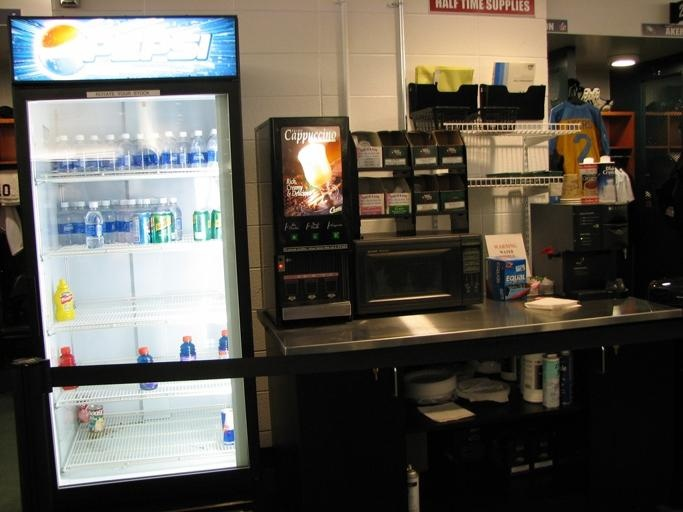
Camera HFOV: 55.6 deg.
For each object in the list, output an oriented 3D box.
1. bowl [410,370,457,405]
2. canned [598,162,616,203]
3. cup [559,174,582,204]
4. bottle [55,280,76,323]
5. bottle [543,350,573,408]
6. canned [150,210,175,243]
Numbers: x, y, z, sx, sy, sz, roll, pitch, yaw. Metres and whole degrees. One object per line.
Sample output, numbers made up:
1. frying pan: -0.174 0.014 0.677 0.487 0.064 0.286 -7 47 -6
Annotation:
1. bowl: 0.495 0.723 3.610 0.306 0.146 0.172 -6 7 -8
2. canned: 1.593 -0.453 3.930 0.115 0.226 0.110 -2 7 22
3. cup: 1.379 -0.422 3.948 0.150 0.169 0.154 -2 3 0
4. bottle: -1.527 0.240 3.550 0.095 0.222 0.091 -5 6 1
5. bottle: 1.165 0.667 3.507 0.165 0.279 0.117 -3 7 16
6. canned: -1.001 -0.178 3.624 0.122 0.201 0.128 0 5 39
